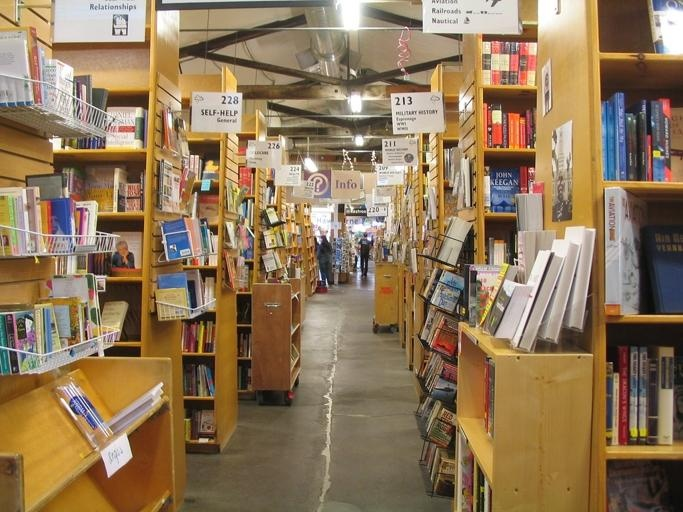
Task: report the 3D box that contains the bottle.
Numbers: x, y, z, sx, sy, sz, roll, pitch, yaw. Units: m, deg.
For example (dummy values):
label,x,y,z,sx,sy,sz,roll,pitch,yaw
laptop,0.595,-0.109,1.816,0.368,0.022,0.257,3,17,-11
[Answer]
label,x,y,z,sx,sy,sz,roll,pitch,yaw
bottle,-1.343,0.808,2.851,0.099,0.083,0.337,-20,51,-35
